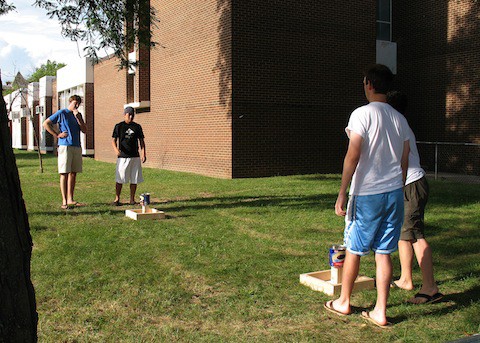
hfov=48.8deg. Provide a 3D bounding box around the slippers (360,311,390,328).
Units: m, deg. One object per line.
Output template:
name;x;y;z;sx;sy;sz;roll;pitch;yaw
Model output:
slippers;1.690;1.843;6.616;0.145;0.080;0.310;9;11;-31

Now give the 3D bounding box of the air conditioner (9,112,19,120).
air conditioner;-29.499;-7.244;69.041;1.015;1.424;7.826;-4;11;-24

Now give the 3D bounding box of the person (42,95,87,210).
person;-4.008;-0.470;12.246;0.811;2.595;1.274;-3;10;-20

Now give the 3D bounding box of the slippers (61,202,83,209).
slippers;-3.850;0.795;12.111;0.439;0.116;0.174;-4;5;-12

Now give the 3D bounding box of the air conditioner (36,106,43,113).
air conditioner;-19.185;-5.975;50.616;0.658;0.838;1.101;2;-2;-37

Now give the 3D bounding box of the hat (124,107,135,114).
hat;-2.566;-1.450;12.256;0.164;0.132;0.231;2;-3;-19

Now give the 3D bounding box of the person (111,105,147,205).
person;-2.656;-0.371;12.636;0.789;2.389;1.172;-2;9;-13

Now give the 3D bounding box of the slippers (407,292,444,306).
slippers;2.485;1.689;7.071;0.373;0.099;0.190;-2;-6;-10

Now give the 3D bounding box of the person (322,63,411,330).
person;1.616;0.262;6.746;0.952;3.233;0.827;3;10;17
